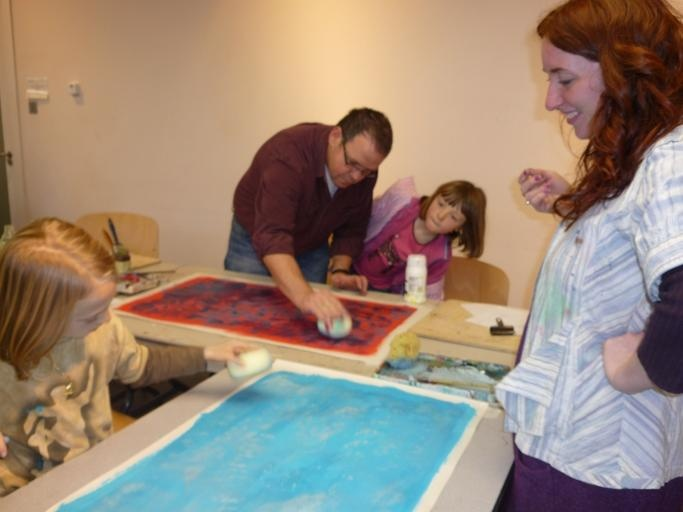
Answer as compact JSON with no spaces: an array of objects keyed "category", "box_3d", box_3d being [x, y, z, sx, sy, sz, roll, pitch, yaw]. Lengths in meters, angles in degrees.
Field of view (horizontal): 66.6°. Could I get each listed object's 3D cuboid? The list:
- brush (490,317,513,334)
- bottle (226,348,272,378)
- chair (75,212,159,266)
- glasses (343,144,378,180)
[{"category":"brush","box_3d":[0.498,0.212,1.609,0.048,0.032,0.051,0,5,6]},{"category":"bottle","box_3d":[-0.226,0.262,1.335,0.066,0.056,0.092,-14,-6,17]},{"category":"chair","box_3d":[-0.966,-0.079,2.281,0.216,0.328,0.213,-1,11,-8]},{"category":"glasses","box_3d":[0.054,-0.345,1.871,0.091,0.125,0.062,-5,13,-3]}]
